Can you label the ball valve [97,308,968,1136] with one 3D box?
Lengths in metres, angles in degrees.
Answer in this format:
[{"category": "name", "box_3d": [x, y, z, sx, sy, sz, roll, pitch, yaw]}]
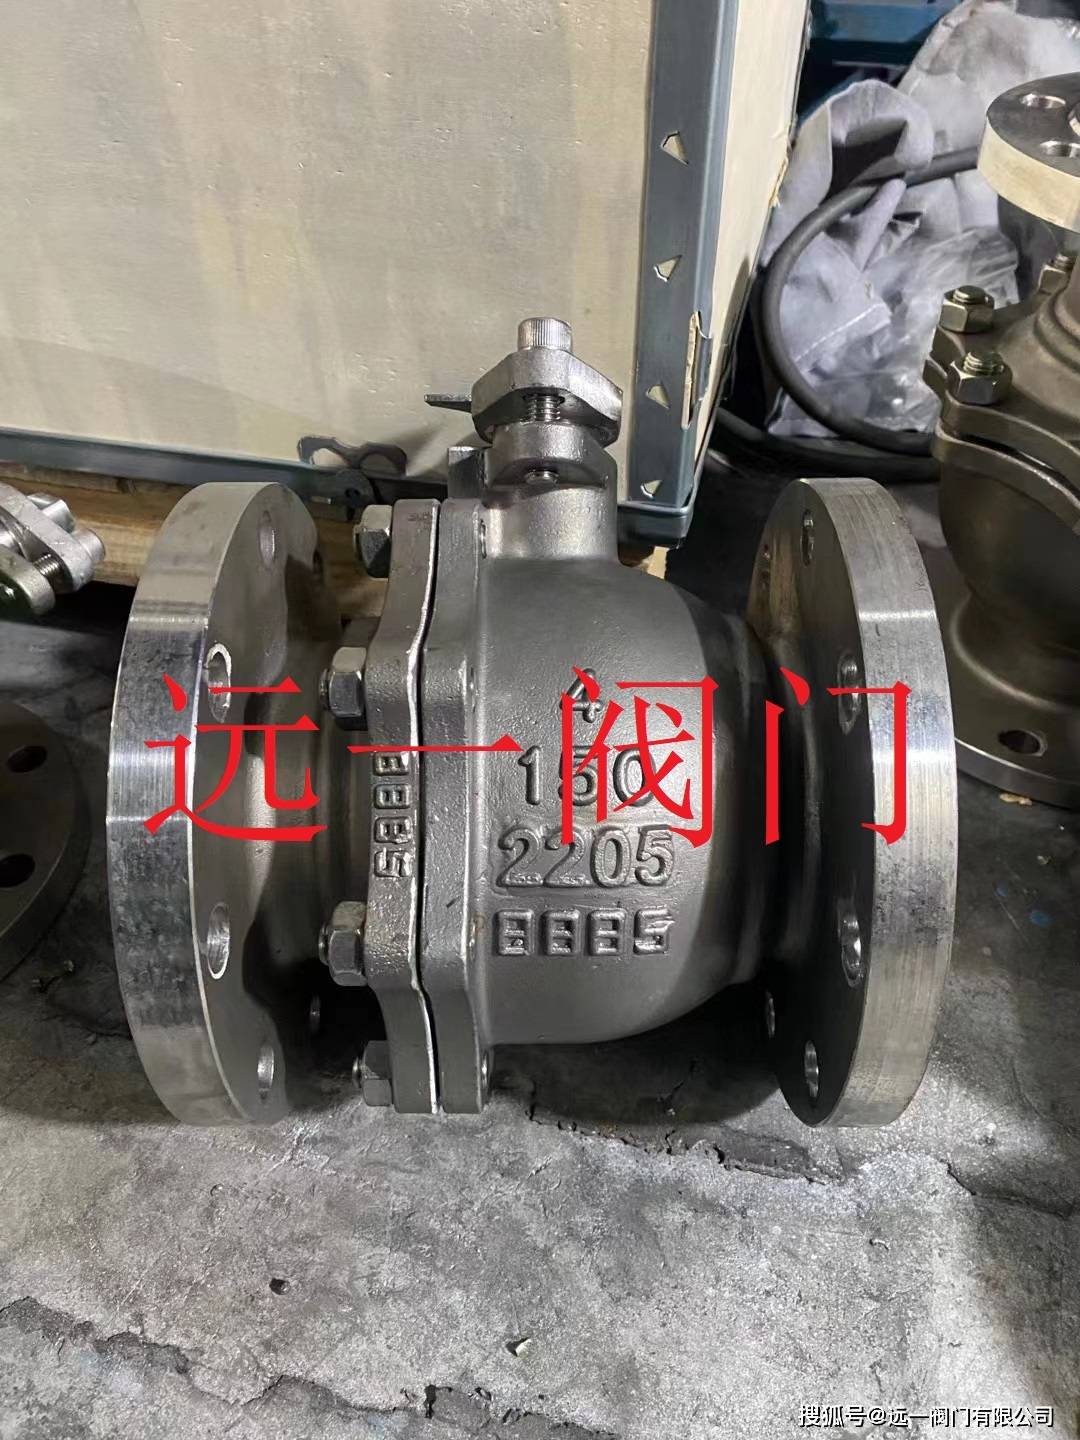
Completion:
[{"category": "ball valve", "box_3d": [0.002, 0.006, 0.933, 0.598, 0.572, 0.416, 0, 10, 5]}]
